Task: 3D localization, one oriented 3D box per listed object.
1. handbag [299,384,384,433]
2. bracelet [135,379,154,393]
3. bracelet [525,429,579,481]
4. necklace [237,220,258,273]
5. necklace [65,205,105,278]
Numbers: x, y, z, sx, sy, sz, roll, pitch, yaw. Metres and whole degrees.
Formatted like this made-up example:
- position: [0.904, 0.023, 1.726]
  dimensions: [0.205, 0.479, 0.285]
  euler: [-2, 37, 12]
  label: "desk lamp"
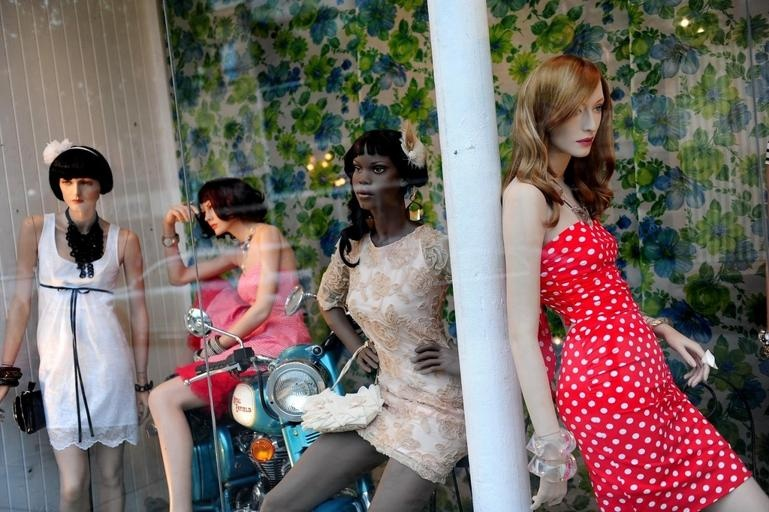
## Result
- position: [-0.141, 0.505, 2.018]
  dimensions: [0.184, 0.167, 0.068]
  euler: [-2, -38, 0]
  label: "handbag"
- position: [-0.954, 0.512, 2.425]
  dimensions: [0.046, 0.031, 0.065]
  euler: [0, -2, -18]
  label: "bracelet"
- position: [0.501, 0.569, 1.771]
  dimensions: [0.170, 0.151, 0.073]
  euler: [-5, 4, -19]
  label: "bracelet"
- position: [-0.474, -0.030, 2.116]
  dimensions: [0.035, 0.172, 0.046]
  euler: [14, 17, -5]
  label: "necklace"
- position: [-1.195, -0.047, 2.426]
  dimensions: [0.174, 0.195, 0.054]
  euler: [-2, 3, 22]
  label: "necklace"
